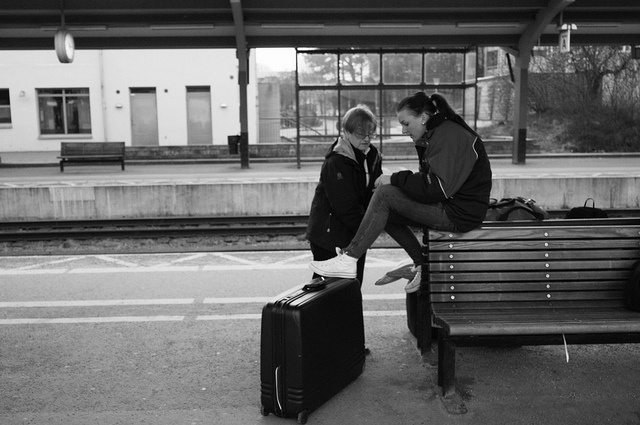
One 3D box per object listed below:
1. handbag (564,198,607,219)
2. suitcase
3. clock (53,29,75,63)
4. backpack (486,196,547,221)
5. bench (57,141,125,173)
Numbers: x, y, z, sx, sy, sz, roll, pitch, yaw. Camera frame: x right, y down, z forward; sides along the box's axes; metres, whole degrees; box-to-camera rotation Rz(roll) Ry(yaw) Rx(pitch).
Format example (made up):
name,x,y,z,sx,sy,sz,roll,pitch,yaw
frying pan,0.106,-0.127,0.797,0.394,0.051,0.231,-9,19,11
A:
name,x,y,z,sx,sy,sz,roll,pitch,yaw
handbag,4.298,-0.065,12.505,0.380,0.323,0.162,1,2,4
suitcase,-0.085,1.681,8.979,0.492,1.349,1.454,5,10,37
clock,-6.192,-4.009,18.654,0.376,0.752,0.617,-5,10,-14
backpack,2.407,-0.018,9.572,0.502,0.180,0.397,-2,11,1
bench,-7.399,-1.832,25.002,2.014,0.866,0.765,-6,10,-18
